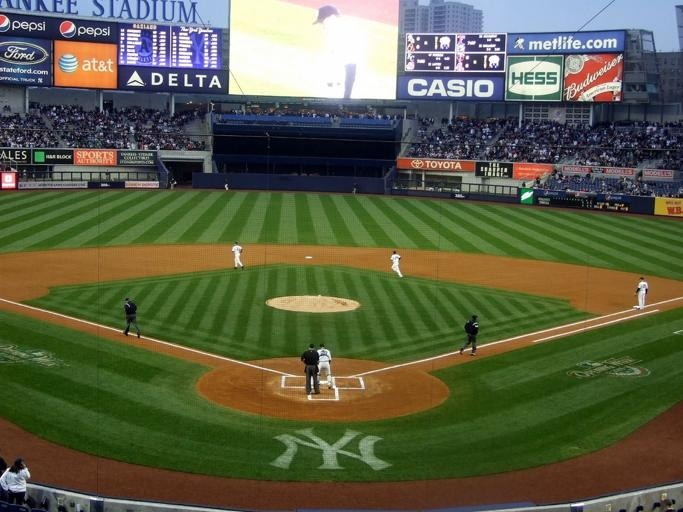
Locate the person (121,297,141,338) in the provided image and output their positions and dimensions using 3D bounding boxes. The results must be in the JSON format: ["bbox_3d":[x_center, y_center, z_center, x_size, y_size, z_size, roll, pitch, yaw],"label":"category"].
[{"bbox_3d":[-6.575,1.839,22.762,0.505,1.141,1.561,0,9,-16],"label":"person"}]

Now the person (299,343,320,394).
[{"bbox_3d":[-0.787,2.840,18.883,0.487,1.406,1.193,2,9,-2],"label":"person"}]

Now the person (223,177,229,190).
[{"bbox_3d":[-8.993,-5.688,56.665,0.366,0.928,0.584,1,10,-12],"label":"person"}]

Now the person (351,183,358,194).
[{"bbox_3d":[1.087,-5.436,58.053,0.442,0.780,0.589,2,9,-2],"label":"person"}]
